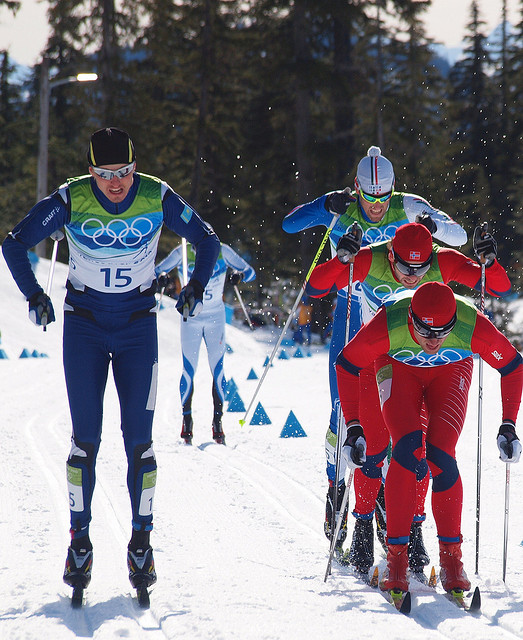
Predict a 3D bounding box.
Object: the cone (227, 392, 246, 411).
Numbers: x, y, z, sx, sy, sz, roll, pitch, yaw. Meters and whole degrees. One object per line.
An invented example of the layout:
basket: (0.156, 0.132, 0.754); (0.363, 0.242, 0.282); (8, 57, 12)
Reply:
cone: (-0.259, 0.878, 11.303); (0.181, 0.184, 0.131); (0, -14, -4)

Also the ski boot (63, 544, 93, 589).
ski boot: (-0.896, 1.212, 5.202); (0.151, 0.191, 0.135); (2, 1, -24)

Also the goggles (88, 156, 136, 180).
goggles: (-0.744, -0.759, 5.268); (0.226, 0.124, 0.129); (2, 1, -9)

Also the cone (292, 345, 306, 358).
cone: (0.686, 0.576, 19.147); (0.139, 0.235, 0.203); (-5, 13, -27)

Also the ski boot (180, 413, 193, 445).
ski boot: (-0.655, 0.950, 9.264); (0.099, 0.156, 0.283); (2, 1, -5)

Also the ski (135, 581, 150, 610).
ski: (-0.582, 1.362, 5.192); (0.034, 0.163, 0.027); (6, -42, -18)

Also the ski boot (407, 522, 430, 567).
ski boot: (0.853, 1.237, 5.751); (0.109, 0.188, 0.239); (2, 1, 10)

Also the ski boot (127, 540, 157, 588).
ski boot: (-0.602, 1.235, 5.330); (0.150, 0.250, 0.224); (2, 1, -6)

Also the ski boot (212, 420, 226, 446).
ski boot: (-0.387, 1.014, 9.447); (0.055, 0.171, 0.175); (-8, 18, 0)

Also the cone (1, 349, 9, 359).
cone: (-3.745, 0.495, 15.390); (0.122, 0.125, 0.221); (4, -3, -20)

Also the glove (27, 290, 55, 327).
glove: (-1.054, -0.064, 5.067); (0.069, 0.164, 0.119); (-30, -49, 19)

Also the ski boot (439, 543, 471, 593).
ski boot: (0.971, 1.240, 5.356); (0.118, 0.218, 0.301); (-6, 7, 1)

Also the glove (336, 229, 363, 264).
glove: (0.480, -0.407, 5.798); (0.063, 0.171, 0.124); (21, 14, 41)

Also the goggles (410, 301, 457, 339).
goggles: (0.861, 0.016, 5.334); (0.228, 0.133, 0.110); (2, 1, 6)

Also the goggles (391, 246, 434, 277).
goggles: (0.823, -0.319, 5.733); (0.240, 0.120, 0.177); (2, 1, -5)

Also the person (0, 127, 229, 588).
person: (-0.770, 0.207, 5.290); (1.044, 2.324, 0.557); (2, 1, -3)

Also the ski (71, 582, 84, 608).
ski: (-0.894, 1.329, 5.146); (0.057, 0.109, 0.112); (2, 1, -8)

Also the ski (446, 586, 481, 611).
ski: (1.003, 1.365, 5.228); (0.080, 0.096, 0.149); (0, 13, -5)

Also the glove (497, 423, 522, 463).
glove: (1.274, 0.638, 5.490); (0.077, 0.181, 0.146); (-2, -21, -22)

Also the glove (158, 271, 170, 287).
glove: (-0.968, -0.402, 10.482); (0.085, 0.160, 0.157); (3, -7, -3)

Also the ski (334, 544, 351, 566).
ski: (0.465, 1.357, 6.078); (0.084, 0.063, 0.040); (46, -18, -26)

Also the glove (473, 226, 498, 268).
glove: (1.322, -0.426, 6.105); (0.075, 0.229, 0.161); (-10, -2, -18)

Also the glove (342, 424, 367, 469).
glove: (0.476, 0.654, 5.463); (0.119, 0.216, 0.089); (-4, -27, 3)

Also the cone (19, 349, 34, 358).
cone: (-3.542, 0.479, 15.960); (0.116, 0.185, 0.179); (1, -2, 28)

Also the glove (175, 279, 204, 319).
glove: (-0.360, -0.112, 5.221); (0.127, 0.075, 0.184); (-15, 35, 24)

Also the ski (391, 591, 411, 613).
ski: (0.683, 1.385, 5.187); (0.032, 0.070, 0.098); (13, -10, -13)
